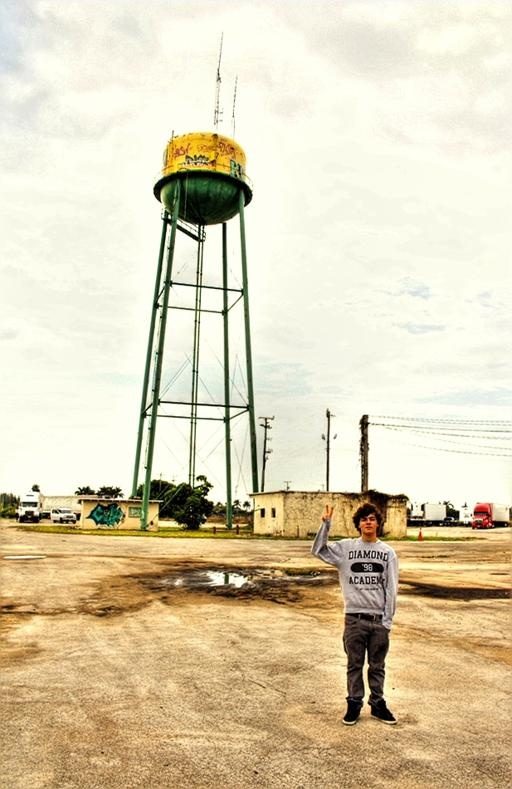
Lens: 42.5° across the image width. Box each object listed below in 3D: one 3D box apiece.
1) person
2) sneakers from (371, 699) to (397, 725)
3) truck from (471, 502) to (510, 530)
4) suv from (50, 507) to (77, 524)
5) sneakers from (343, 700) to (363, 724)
[{"bbox_3d":[0.826,1.755,5.419,0.660,1.689,0.595,2,-7,12],"label":"person"},{"bbox_3d":[0.984,2.492,5.174,0.098,0.160,0.246,6,-11,-31],"label":"sneakers"},{"bbox_3d":[24.970,12.857,69.743,6.014,2.577,2.200,9,-9,-40],"label":"truck"},{"bbox_3d":[-19.079,11.862,65.325,1.773,1.578,3.941,5,-15,-29],"label":"suv"},{"bbox_3d":[0.748,2.467,5.172,0.132,0.174,0.280,2,-7,9],"label":"sneakers"}]
